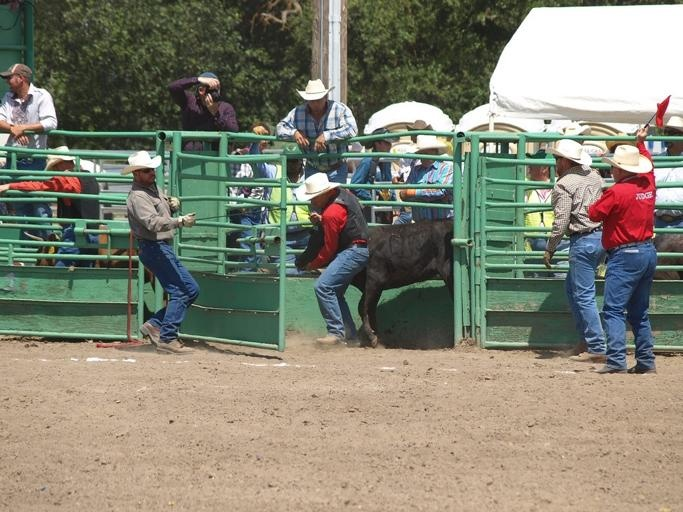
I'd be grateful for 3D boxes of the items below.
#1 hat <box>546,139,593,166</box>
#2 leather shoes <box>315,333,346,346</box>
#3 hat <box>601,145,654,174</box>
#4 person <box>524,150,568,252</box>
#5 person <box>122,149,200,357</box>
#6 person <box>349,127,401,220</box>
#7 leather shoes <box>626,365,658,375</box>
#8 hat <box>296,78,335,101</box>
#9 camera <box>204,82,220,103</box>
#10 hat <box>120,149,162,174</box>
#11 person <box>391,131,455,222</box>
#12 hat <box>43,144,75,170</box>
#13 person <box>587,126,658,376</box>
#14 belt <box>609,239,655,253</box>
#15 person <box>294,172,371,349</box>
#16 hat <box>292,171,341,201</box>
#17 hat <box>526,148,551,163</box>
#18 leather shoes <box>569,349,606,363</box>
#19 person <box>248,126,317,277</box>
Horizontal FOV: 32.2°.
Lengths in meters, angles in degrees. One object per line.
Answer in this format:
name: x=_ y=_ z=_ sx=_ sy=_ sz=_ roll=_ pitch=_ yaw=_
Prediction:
hat: x=2.594 y=-1.160 z=13.291 sx=0.494 sy=0.324 sz=0.526 roll=1 pitch=-1 yaw=10
leather shoes: x=-0.104 y=0.997 z=13.949 sx=0.301 sy=0.108 sz=0.154 roll=5 pitch=-7 yaw=-11
hat: x=3.113 y=-1.055 z=12.745 sx=0.345 sy=0.127 sz=0.371 roll=-17 pitch=28 yaw=-30
person: x=2.492 y=-0.688 z=14.624 sx=0.851 sy=1.131 sz=0.429 roll=7 pitch=-5 yaw=-29
person: x=-2.008 y=-0.041 z=13.497 sx=0.851 sy=2.224 sz=1.079 roll=-6 pitch=2 yaw=-16
person: x=0.444 y=-1.023 z=15.267 sx=0.570 sy=0.641 sz=1.487 roll=9 pitch=-16 yaw=11
leather shoes: x=3.305 y=1.235 z=12.875 sx=0.325 sy=0.110 sz=0.110 roll=4 pitch=0 yaw=10
hat: x=-0.341 y=-2.048 z=14.602 sx=0.322 sy=0.284 sz=0.504 roll=1 pitch=-1 yaw=-4
camera: x=-1.652 y=-2.086 z=15.194 sx=0.183 sy=0.292 sz=0.087 roll=-7 pitch=41 yaw=-2
hat: x=-2.256 y=-1.016 z=13.193 sx=0.317 sy=0.121 sz=0.312 roll=-13 pitch=8 yaw=31
person: x=1.052 y=-0.994 z=14.688 sx=0.694 sy=1.149 sz=1.481 roll=2 pitch=-1 yaw=2
hat: x=-3.492 y=-1.208 z=14.593 sx=0.381 sy=0.181 sz=0.351 roll=-14 pitch=3 yaw=35
person: x=3.132 y=-0.060 z=12.848 sx=0.781 sy=2.676 sz=0.525 roll=2 pitch=-1 yaw=-35
belt: x=3.154 y=-0.104 z=12.792 sx=0.516 sy=0.189 sz=0.188 roll=1 pitch=-1 yaw=7
person: x=-0.081 y=0.063 z=13.946 sx=0.553 sy=2.001 sz=1.027 roll=1 pitch=-1 yaw=42
hat: x=-0.337 y=-0.734 z=13.676 sx=0.437 sy=0.154 sz=0.387 roll=-17 pitch=20 yaw=26
hat: x=2.530 y=-1.282 z=15.078 sx=0.213 sy=0.106 sz=0.337 roll=0 pitch=-1 yaw=-44
leather shoes: x=2.781 y=1.125 z=13.274 sx=0.397 sy=0.148 sz=0.127 roll=2 pitch=2 yaw=17
person: x=-0.662 y=-0.627 z=14.983 sx=1.123 sy=1.829 sz=0.592 roll=4 pitch=-14 yaw=-18
